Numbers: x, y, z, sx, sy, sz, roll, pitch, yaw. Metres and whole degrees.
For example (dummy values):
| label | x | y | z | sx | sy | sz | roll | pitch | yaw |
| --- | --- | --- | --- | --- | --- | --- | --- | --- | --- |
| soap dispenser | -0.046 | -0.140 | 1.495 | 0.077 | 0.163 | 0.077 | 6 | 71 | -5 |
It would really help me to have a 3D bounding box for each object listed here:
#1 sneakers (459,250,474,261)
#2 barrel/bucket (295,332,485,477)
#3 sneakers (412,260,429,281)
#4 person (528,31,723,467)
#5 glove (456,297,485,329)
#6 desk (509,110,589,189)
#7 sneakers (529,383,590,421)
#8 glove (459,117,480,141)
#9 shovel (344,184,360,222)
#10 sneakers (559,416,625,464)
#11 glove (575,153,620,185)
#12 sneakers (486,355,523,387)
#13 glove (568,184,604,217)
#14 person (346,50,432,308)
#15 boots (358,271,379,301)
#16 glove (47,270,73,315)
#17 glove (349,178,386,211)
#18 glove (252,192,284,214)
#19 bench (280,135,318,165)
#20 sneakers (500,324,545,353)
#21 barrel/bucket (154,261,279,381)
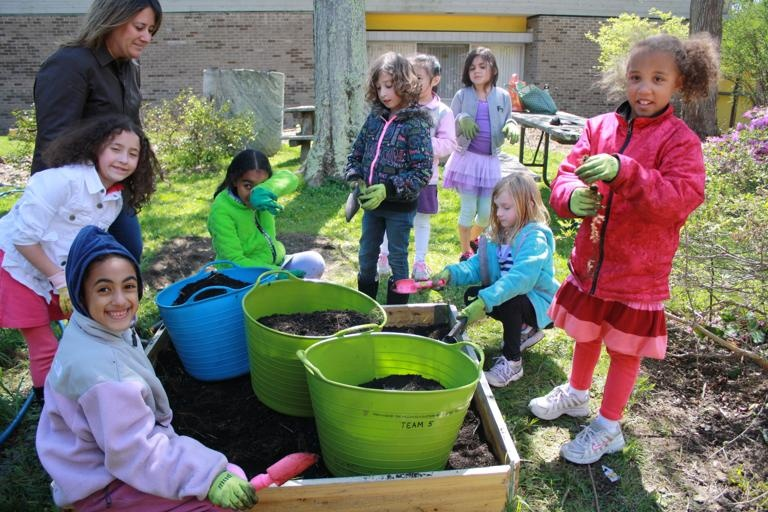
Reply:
| label | x | y | z | sx | sy | sz | roll | pitch | yaw |
| --- | --- | --- | --- | --- | --- | --- | --- | --- | --- |
| sneakers | 0.773 | 0.007 | 5.928 | 0.120 | 0.065 | 0.090 | -25 | -4 | 28 |
| barrel/bucket | 0.021 | 0.833 | 3.482 | 0.913 | 0.596 | 0.831 | 2 | 19 | -1 |
| sneakers | 0.320 | 0.136 | 5.573 | 0.149 | 0.164 | 0.094 | 2 | -14 | -9 |
| person | 1.382 | -0.053 | 3.765 | 0.818 | 2.425 | 0.664 | 8 | 20 | 17 |
| glove | 0.573 | 0.365 | 4.155 | 0.181 | 0.191 | 0.168 | 8 | 20 | 14 |
| desk | 2.594 | -1.940 | 10.470 | 0.885 | 1.084 | 3.004 | 21 | 24 | 17 |
| sneakers | 1.140 | 0.962 | 4.200 | 0.424 | 0.207 | 0.187 | 1 | 17 | -3 |
| glove | 0.790 | -1.203 | 5.937 | 0.188 | 0.215 | 0.124 | 6 | 19 | 10 |
| shovel | -0.234 | -0.382 | 4.707 | 0.102 | 0.036 | 0.339 | 3 | 54 | 10 |
| sneakers | 1.289 | 1.119 | 3.954 | 0.453 | 0.228 | 0.195 | -20 | 20 | -15 |
| glove | 1.152 | -0.458 | 3.431 | 0.197 | 0.189 | 0.171 | -7 | 21 | -25 |
| sneakers | 0.854 | 0.826 | 4.467 | 0.304 | 0.153 | 0.147 | 1 | 1 | -38 |
| glove | 1.124 | -0.318 | 3.613 | 0.176 | 0.186 | 0.145 | 2 | 24 | -10 |
| person | 0.034 | -0.548 | 4.763 | 0.617 | 1.865 | 0.634 | -1 | 19 | -11 |
| boots | -0.107 | 0.219 | 5.038 | 0.192 | 0.247 | 0.168 | 6 | 26 | 11 |
| glove | -1.882 | 0.204 | 3.661 | 0.080 | 0.234 | 0.164 | -18 | 18 | -34 |
| glove | -0.124 | -0.445 | 4.560 | 0.164 | 0.108 | 0.215 | -17 | 37 | -29 |
| glove | -0.848 | -0.396 | 4.587 | 0.181 | 0.143 | 0.086 | 17 | 31 | 4 |
| bench | -1.451 | -1.795 | 10.744 | 0.446 | 0.263 | 1.104 | 1 | 11 | -1 |
| sneakers | 0.999 | 0.595 | 4.543 | 0.270 | 0.124 | 0.090 | -36 | 18 | -17 |
| barrel/bucket | -1.233 | 0.399 | 4.347 | 0.852 | 0.720 | 0.712 | -9 | 10 | -31 |
